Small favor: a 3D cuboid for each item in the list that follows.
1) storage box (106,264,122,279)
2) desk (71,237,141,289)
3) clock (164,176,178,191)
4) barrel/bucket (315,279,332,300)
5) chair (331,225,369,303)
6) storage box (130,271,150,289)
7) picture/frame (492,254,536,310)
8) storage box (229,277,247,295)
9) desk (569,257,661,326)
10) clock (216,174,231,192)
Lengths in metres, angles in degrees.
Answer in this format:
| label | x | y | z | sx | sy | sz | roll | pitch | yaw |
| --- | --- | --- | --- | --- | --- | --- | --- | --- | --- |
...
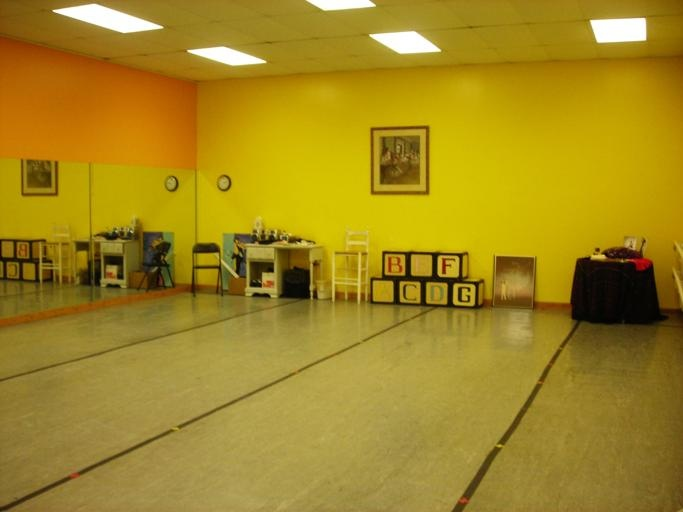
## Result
| label | x | y | z | sx | sy | sz | roll | pitch | yaw |
| --- | --- | --- | --- | --- | --- | --- | --- | --- | --- |
| storage box | -3.955 | 0.246 | 9.211 | 0.197 | 0.343 | 0.371 | -1 | 0 | 14 |
| desk | -4.024 | 0.076 | 9.046 | 1.159 | 0.978 | 0.696 | -1 | 1 | -23 |
| clock | -3.330 | -1.429 | 10.286 | 0.056 | 0.254 | 0.254 | 0 | 13 | 34 |
| barrel/bucket | -0.325 | 0.632 | 9.652 | 0.309 | 0.270 | 0.302 | 0 | 3 | 0 |
| chair | 0.128 | 0.164 | 9.566 | 0.712 | 1.279 | 0.558 | 1 | 3 | 9 |
| storage box | -3.684 | 0.438 | 9.554 | 0.254 | 0.276 | 0.271 | 3 | -1 | 26 |
| picture/frame | 2.922 | 0.434 | 8.818 | 0.871 | 1.141 | 0.045 | 1 | -1 | 17 |
| storage box | -2.013 | 0.580 | 10.177 | 0.337 | 0.341 | 0.325 | 0 | -4 | 9 |
| desk | 4.128 | 0.464 | 7.970 | 1.175 | 0.840 | 1.143 | -2 | 4 | 22 |
| clock | -2.358 | -1.465 | 10.518 | 0.304 | 0.317 | 0.073 | 4 | 3 | 29 |
